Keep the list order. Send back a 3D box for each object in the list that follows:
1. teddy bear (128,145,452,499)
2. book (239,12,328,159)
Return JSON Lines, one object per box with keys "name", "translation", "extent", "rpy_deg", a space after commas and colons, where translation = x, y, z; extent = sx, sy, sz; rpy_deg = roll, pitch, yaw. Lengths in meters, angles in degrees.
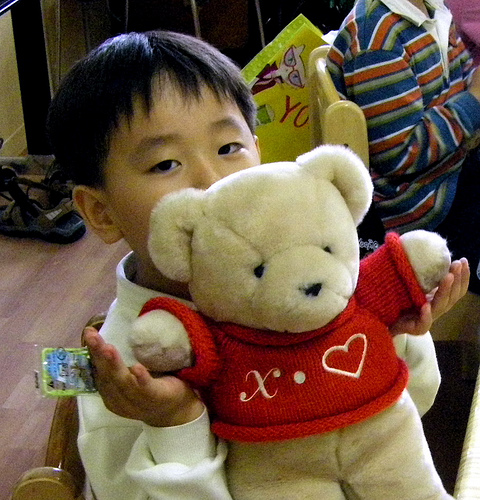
{"name": "teddy bear", "translation": [0.065, 0.084, 0.478], "extent": [0.319, 0.307, 0.191], "rpy_deg": [-13, 31, -6]}
{"name": "book", "translation": [0.143, -0.471, 1.536], "extent": [0.244, 0.408, 0.181], "rpy_deg": [-4, 32, 10]}
